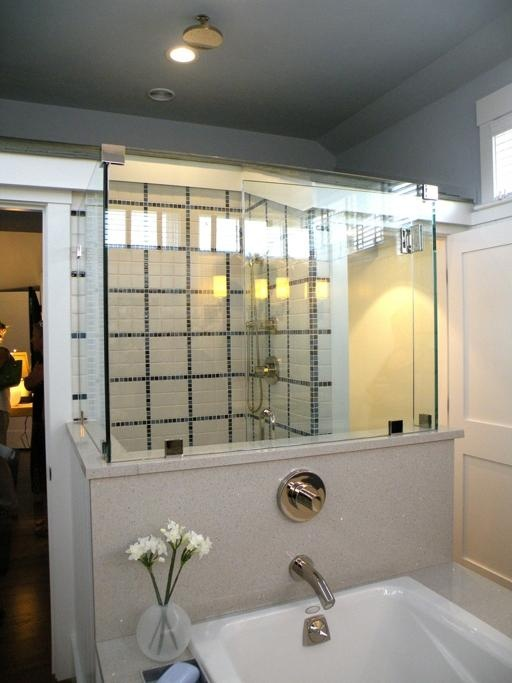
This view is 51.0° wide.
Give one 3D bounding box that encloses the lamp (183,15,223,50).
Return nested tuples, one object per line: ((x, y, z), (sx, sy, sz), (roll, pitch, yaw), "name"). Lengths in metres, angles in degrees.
((-0.217, -1.236, 2.190), (0.156, 0.056, 0.246), (1, 0, -4), "lamp")

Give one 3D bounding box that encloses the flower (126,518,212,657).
((-0.190, 0.574, 1.221), (0.169, 0.284, 0.151), (-7, -18, 40), "flower")

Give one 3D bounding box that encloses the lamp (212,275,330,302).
((0.040, -0.157, 1.583), (0.339, 0.074, 0.045), (1, -1, 2), "lamp")

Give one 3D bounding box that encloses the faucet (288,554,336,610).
((0.146, 0.620, 1.387), (0.090, 0.090, 0.167), (0, 10, -30), "faucet")
